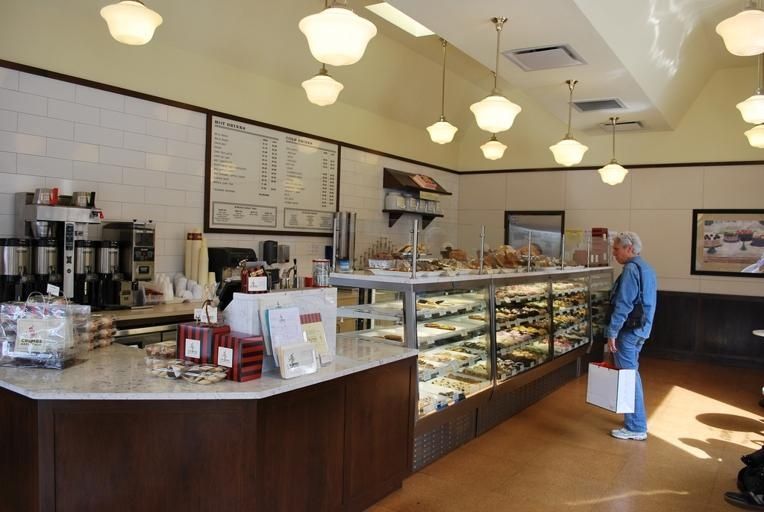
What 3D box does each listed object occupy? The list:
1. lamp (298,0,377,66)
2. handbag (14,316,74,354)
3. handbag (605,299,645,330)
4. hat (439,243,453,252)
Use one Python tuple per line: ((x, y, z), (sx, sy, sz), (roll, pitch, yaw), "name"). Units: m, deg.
((-0.318, -1.658, 3.862), (0.508, 0.315, 0.478), (-1, 3, -13), "lamp")
((-2.260, 0.511, 3.585), (0.426, 0.270, 0.224), (0, -7, -4), "handbag")
((2.671, 0.617, 5.584), (0.319, 0.290, 0.112), (14, 11, 18), "handbag")
((0.663, -0.092, 5.313), (0.097, 0.055, 0.092), (-1, -2, 10), "hat")
